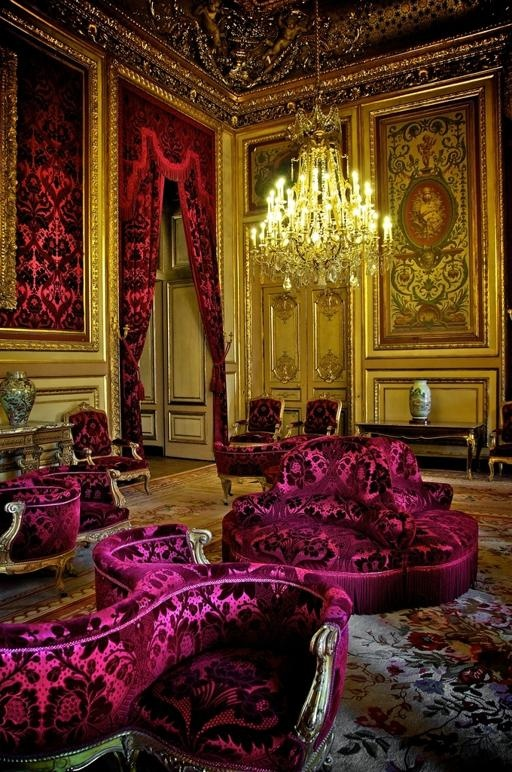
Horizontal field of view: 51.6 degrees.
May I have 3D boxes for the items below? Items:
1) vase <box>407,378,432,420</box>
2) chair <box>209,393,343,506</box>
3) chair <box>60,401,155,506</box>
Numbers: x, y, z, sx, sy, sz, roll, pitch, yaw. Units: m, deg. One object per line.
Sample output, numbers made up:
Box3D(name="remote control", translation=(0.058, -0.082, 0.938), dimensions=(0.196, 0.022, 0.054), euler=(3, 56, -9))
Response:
Box3D(name="vase", translation=(1.549, 0.146, 4.949), dimensions=(0.176, 0.394, 0.160), euler=(-1, 2, 12))
Box3D(name="chair", translation=(0.074, 0.452, 4.282), dimensions=(0.711, 0.819, 1.034), euler=(-2, -1, 28))
Box3D(name="chair", translation=(-1.149, 0.500, 4.337), dimensions=(0.685, 1.028, 0.690), euler=(-4, -3, 34))
